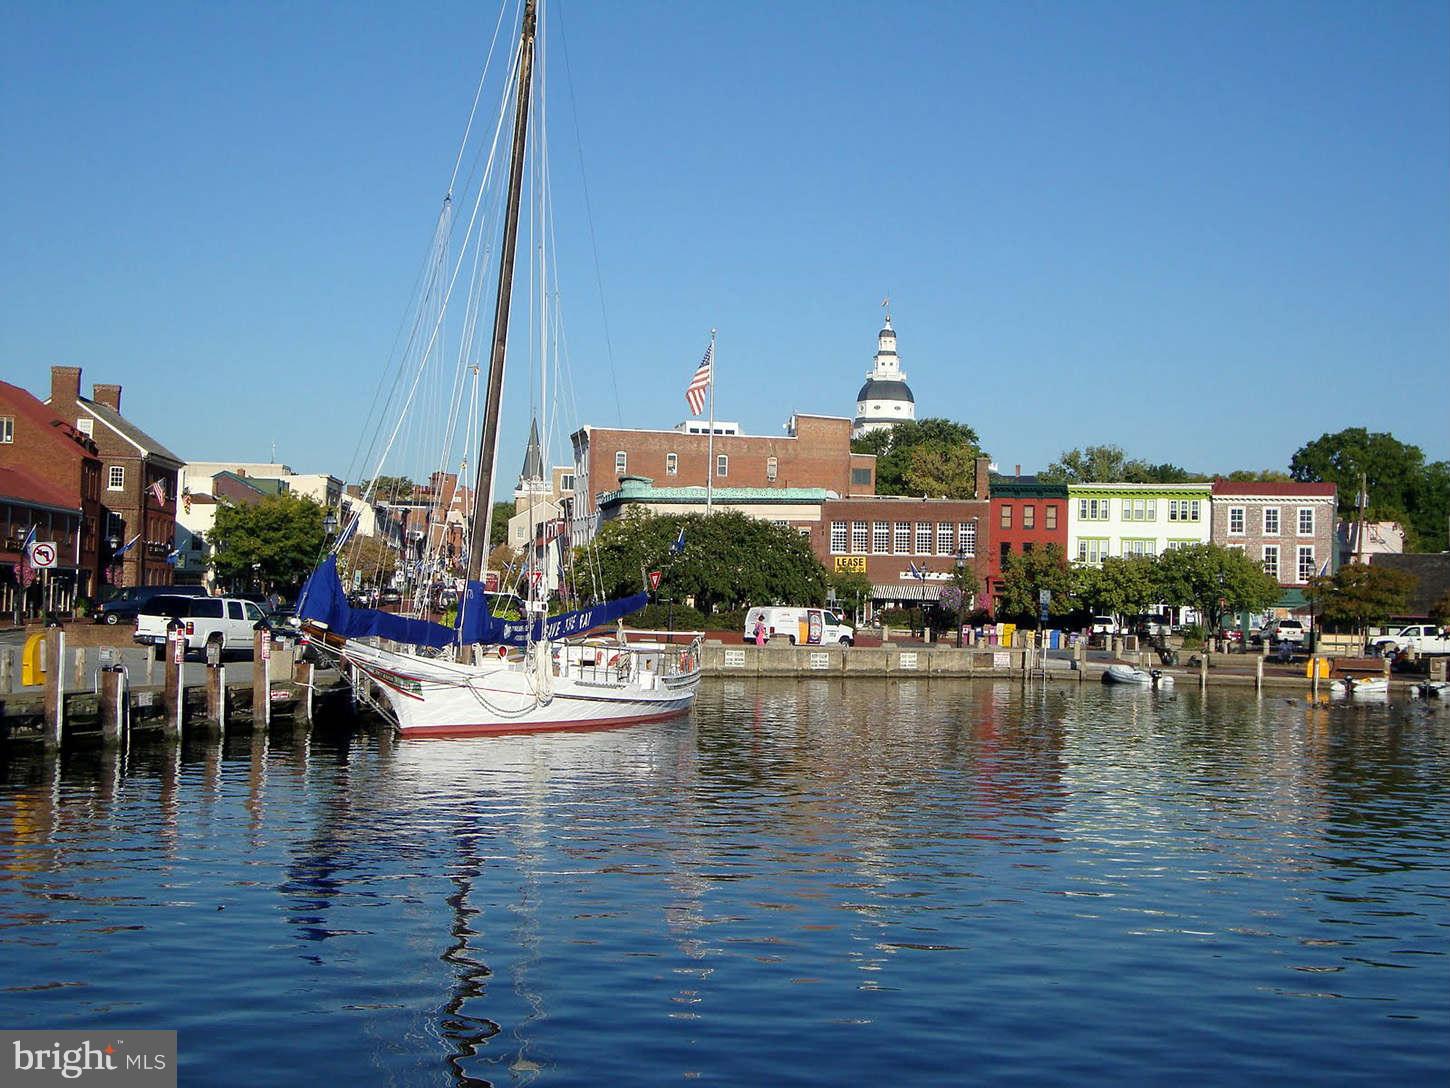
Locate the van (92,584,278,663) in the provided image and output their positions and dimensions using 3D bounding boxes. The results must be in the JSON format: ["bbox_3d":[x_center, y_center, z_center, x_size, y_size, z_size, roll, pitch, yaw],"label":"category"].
[{"bbox_3d":[-18.281,2.912,56.813,2.731,2.329,4.764,2,1,14],"label":"van"}]

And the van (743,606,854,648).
[{"bbox_3d":[4.232,4.789,97.980,6.391,2.221,2.948,1,1,-16],"label":"van"}]

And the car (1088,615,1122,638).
[{"bbox_3d":[26.381,5.700,114.109,1.321,1.124,2.354,0,-6,8],"label":"car"}]

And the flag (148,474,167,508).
[{"bbox_3d":[-40.810,-3.909,117.609,0.334,1.935,1.828,10,29,25],"label":"flag"}]
